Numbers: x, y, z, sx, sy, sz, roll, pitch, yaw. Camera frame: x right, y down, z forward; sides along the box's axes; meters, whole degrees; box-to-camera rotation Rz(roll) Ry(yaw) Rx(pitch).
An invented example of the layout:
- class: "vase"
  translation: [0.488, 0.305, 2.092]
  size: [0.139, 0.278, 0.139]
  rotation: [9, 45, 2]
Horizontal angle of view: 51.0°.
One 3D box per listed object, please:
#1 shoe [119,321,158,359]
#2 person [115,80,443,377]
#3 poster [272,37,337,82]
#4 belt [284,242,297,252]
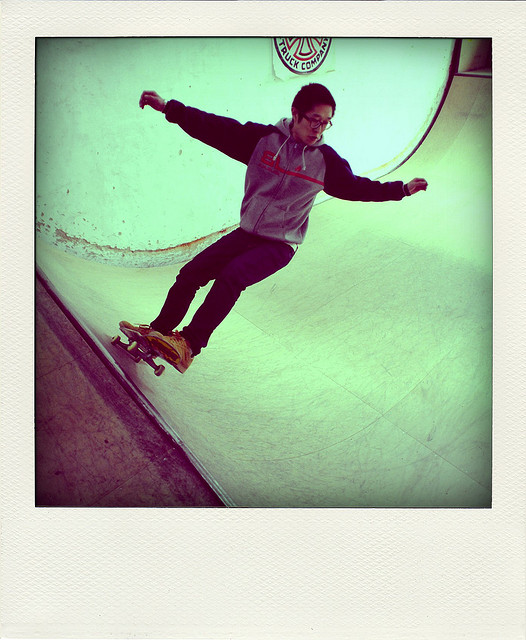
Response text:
- class: "shoe"
  translation: [-0.395, 0.074, 2.038]
  size: [0.234, 0.064, 0.088]
  rotation: [21, 5, 2]
- class: "person"
  translation: [0.067, -0.337, 2.015]
  size: [0.811, 0.812, 0.299]
  rotation: [33, -7, 1]
- class: "poster"
  translation: [0.146, -0.933, 1.961]
  size: [0.246, 0.168, 0.026]
  rotation: [13, 8, -4]
- class: "belt"
  translation: [0.106, -0.275, 2.053]
  size: [0.046, 0.022, 0.008]
  rotation: [12, 9, -9]
